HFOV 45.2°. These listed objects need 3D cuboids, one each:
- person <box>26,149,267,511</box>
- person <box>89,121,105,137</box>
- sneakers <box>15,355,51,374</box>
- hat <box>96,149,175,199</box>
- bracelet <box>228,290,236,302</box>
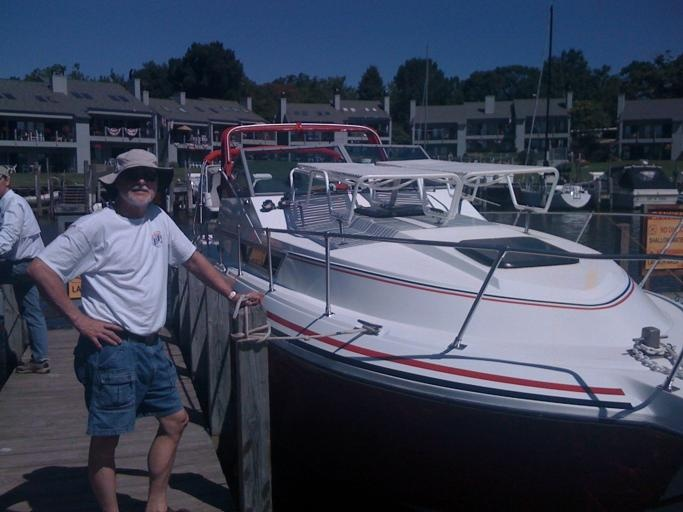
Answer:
[{"bbox_3d":[-1.491,0.534,5.675,1.204,2.501,0.667,-5,12,-25],"label":"person"},{"bbox_3d":[-15.140,-7.954,50.912,0.690,0.932,1.423,4,11,18],"label":"person"},{"bbox_3d":[-2.981,1.058,7.910,0.286,0.131,0.130,5,-4,-7],"label":"sneakers"},{"bbox_3d":[-1.488,-0.597,5.835,0.379,0.164,0.462,-3,-9,-21],"label":"hat"},{"bbox_3d":[-0.783,0.277,5.871,0.068,0.066,0.051,-9,-12,42],"label":"bracelet"}]
